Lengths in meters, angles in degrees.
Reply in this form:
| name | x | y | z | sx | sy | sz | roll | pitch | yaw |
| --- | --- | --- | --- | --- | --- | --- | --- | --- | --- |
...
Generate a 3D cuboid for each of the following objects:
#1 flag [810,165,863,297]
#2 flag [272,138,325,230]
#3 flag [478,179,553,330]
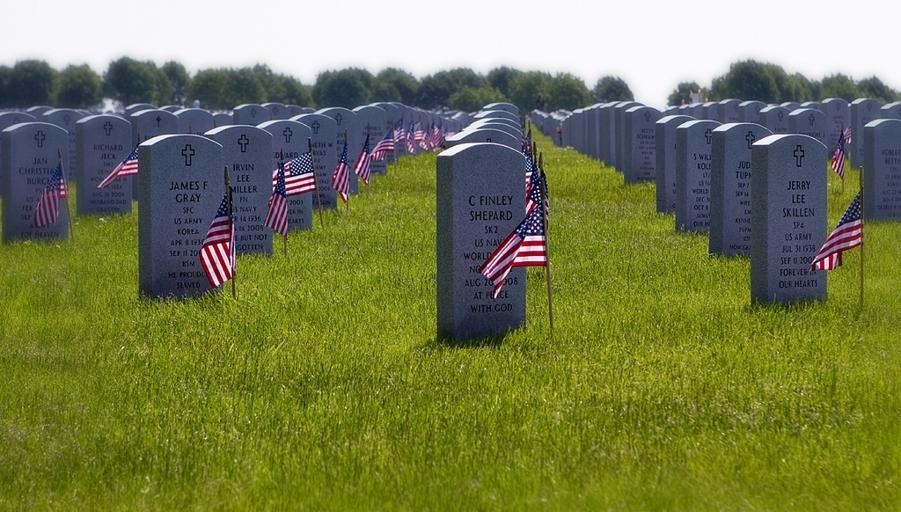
| name | x | y | z | sx | sy | sz | roll | pitch | yaw |
| --- | --- | --- | --- | --- | --- | --- | --- | --- | --- |
| flag | 9.261 | -0.582 | 39.986 | 1.166 | 3.167 | 1.553 | 2 | 1 | 21 |
| flag | -3.985 | -1.958 | 44.802 | 0.939 | 2.415 | 1.236 | 0 | 0 | 3 |
| flag | 1.559 | -0.072 | 38.764 | 1.553 | 3.505 | 0.969 | -1 | 6 | -2 |
